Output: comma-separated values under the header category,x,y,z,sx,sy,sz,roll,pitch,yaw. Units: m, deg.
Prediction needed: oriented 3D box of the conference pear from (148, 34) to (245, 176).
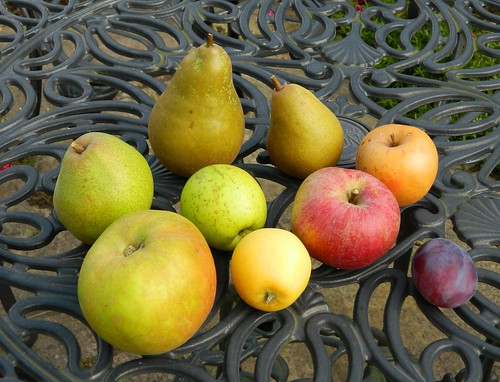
category,x,y,z,sx,sy,sz,roll,pitch,yaw
conference pear,-0.144,-0.222,1.608,0.265,0.415,0.272,-16,39,-36

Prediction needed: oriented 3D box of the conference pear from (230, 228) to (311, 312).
category,x,y,z,sx,sy,sz,roll,pitch,yaw
conference pear,0.065,0.154,1.455,0.185,0.179,0.246,1,22,18

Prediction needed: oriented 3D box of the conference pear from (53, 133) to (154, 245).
category,x,y,z,sx,sy,sz,roll,pitch,yaw
conference pear,-0.380,-0.077,1.585,0.372,0.266,0.253,-6,21,-18

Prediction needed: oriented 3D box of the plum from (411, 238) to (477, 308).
category,x,y,z,sx,sy,sz,roll,pitch,yaw
plum,0.460,0.200,1.465,0.124,0.136,0.166,-16,41,-25

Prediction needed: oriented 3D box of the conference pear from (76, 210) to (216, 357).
category,x,y,z,sx,sy,sz,roll,pitch,yaw
conference pear,-0.224,0.212,1.446,0.291,0.295,0.311,38,58,-32
